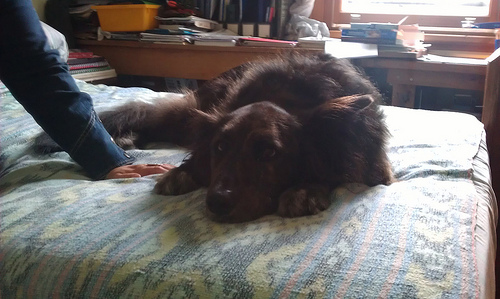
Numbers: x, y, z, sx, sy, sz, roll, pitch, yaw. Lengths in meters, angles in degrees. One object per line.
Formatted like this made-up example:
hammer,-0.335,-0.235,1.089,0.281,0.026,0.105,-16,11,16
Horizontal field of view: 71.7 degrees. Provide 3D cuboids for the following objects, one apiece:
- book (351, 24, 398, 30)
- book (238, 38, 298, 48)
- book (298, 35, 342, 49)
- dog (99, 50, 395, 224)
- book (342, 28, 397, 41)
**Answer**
book,0.773,-0.763,2.156,0.272,0.030,0.029,14,30,26
book,0.131,-0.677,2.204,0.395,0.047,0.169,15,29,29
book,0.446,-0.720,2.273,0.194,0.044,0.489,8,26,15
dog,0.026,-0.022,0.828,0.619,0.204,0.482,7,23,23
book,0.746,-0.719,2.172,0.325,0.051,0.048,12,29,23
